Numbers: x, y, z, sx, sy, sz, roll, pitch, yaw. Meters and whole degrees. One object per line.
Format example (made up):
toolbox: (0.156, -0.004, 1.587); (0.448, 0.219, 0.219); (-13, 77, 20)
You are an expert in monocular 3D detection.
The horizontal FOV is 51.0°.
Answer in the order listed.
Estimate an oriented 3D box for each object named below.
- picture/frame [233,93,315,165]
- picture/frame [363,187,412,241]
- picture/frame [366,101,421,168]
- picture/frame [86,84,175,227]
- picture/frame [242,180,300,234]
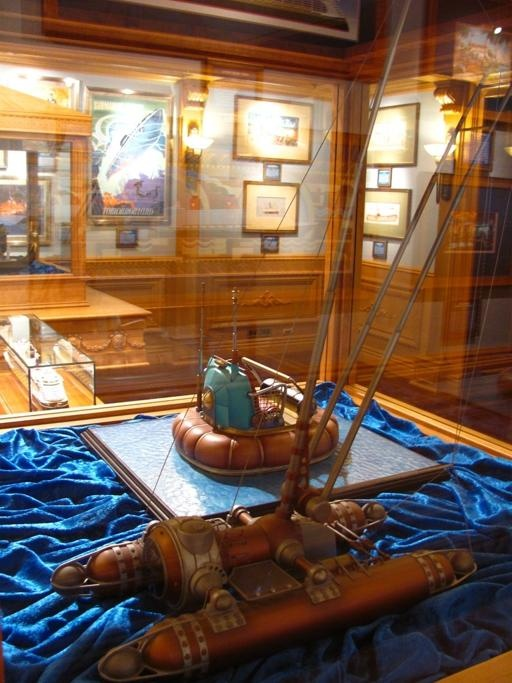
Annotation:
picture/frame: (0.025, -0.395, 1.002); (0.161, 0.106, 0.006); (1, -3, -4)
picture/frame: (0.266, -0.269, 1.125); (0.013, 0.113, 0.142); (-30, 33, -36)
picture/frame: (0.263, -0.416, 1.080); (0.141, 0.118, 0.011); (-11, 25, -21)
picture/frame: (-0.301, -0.376, 1.127); (0.137, 0.245, 0.325); (-9, 17, -41)
picture/frame: (0.027, -0.259, 1.014); (0.112, 0.085, 0.011); (0, 7, -6)
